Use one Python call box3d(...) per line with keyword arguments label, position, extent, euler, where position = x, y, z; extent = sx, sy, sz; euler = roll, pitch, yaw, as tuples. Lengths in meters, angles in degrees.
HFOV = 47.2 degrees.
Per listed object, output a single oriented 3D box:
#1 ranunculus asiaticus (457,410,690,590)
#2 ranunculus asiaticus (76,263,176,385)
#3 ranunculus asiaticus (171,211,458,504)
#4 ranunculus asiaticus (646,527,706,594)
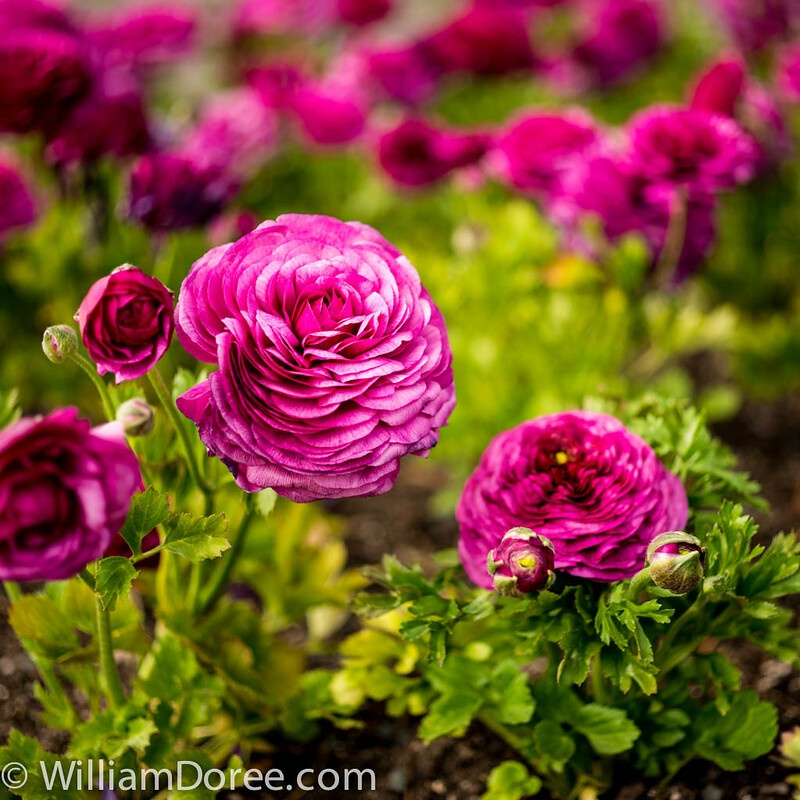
box3d(label="ranunculus asiaticus", position=(0.185, 0.107, 1.055), extent=(0.312, 0.299, 0.148), euler=(2, 103, 5))
box3d(label="ranunculus asiaticus", position=(-0.267, -0.077, 0.881), extent=(0.120, 0.048, 0.103), euler=(12, 98, -16))
box3d(label="ranunculus asiaticus", position=(-0.084, -0.056, 0.930), extent=(0.271, 0.122, 0.311), euler=(-11, 64, -13))
box3d(label="ranunculus asiaticus", position=(0.271, 0.157, 0.891), extent=(0.056, 0.031, 0.061), euler=(-16, 107, -26))
